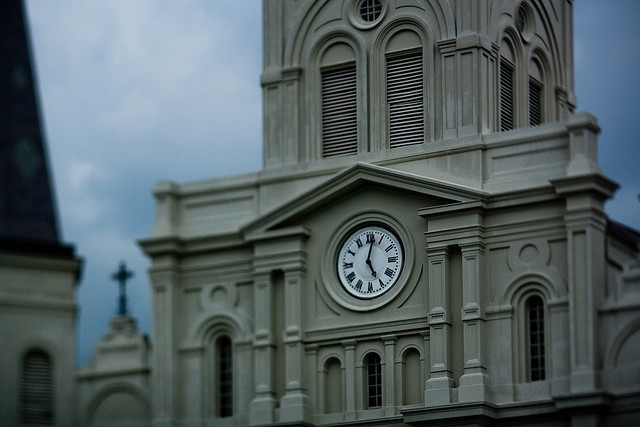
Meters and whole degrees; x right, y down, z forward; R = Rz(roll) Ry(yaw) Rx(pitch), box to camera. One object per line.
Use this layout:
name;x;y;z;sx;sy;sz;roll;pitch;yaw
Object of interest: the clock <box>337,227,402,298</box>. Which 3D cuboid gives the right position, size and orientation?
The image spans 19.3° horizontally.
clock;1.653;1.500;59.830;2.299;2.228;0.146;1;-16;23
